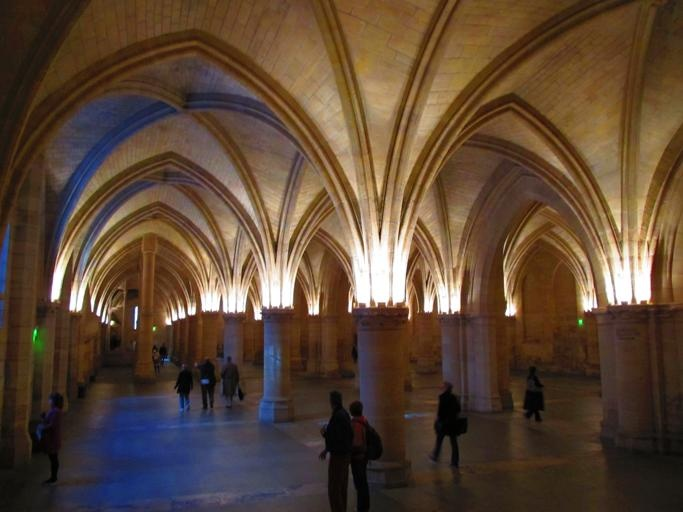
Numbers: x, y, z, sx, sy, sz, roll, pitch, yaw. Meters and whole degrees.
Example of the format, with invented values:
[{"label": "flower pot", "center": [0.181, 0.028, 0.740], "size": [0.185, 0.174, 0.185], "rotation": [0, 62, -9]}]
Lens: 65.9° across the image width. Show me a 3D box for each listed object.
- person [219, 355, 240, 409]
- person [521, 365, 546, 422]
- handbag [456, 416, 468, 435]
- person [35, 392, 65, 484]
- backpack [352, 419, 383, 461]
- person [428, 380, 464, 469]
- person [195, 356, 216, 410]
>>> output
[{"label": "person", "center": [-3.616, 4.063, 16.991], "size": [0.528, 1.610, 0.905], "rotation": [2, -12, -12]}, {"label": "person", "center": [5.430, 3.883, 14.971], "size": [0.533, 1.490, 2.257], "rotation": [-4, -12, 18]}, {"label": "handbag", "center": [2.356, 3.306, 10.288], "size": [0.176, 0.338, 0.407], "rotation": [-4, -12, 16]}, {"label": "person", "center": [-5.304, 3.276, 9.573], "size": [0.384, 1.551, 1.524], "rotation": [5, -13, -27]}, {"label": "backpack", "center": [0.343, 2.662, 7.638], "size": [0.564, 0.574, 0.425], "rotation": [-1, -9, -2]}, {"label": "person", "center": [2.168, 3.407, 10.816], "size": [0.692, 1.621, 1.491], "rotation": [-3, -12, 9]}, {"label": "person", "center": [-4.456, 4.089, 17.339], "size": [0.730, 1.703, 0.720], "rotation": [1, 1, 8]}]
